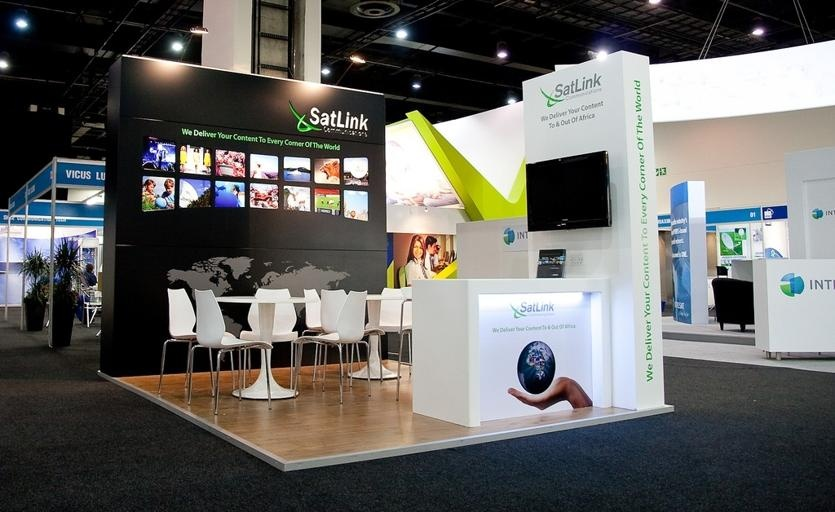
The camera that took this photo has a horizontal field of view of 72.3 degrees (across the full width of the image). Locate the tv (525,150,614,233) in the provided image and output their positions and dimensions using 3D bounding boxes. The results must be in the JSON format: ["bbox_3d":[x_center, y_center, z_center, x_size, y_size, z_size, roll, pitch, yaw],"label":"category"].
[{"bbox_3d":[1.749,-0.726,6.427,0.990,0.813,0.106,0,3,39],"label":"tv"}]

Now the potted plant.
[{"bbox_3d":[-7.779,0.834,12.351,1.527,2.299,2.316,-1,3,-36],"label":"potted plant"}]

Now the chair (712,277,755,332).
[{"bbox_3d":[6.651,0.957,11.971,0.897,1.107,1.032,0,1,40],"label":"chair"}]
